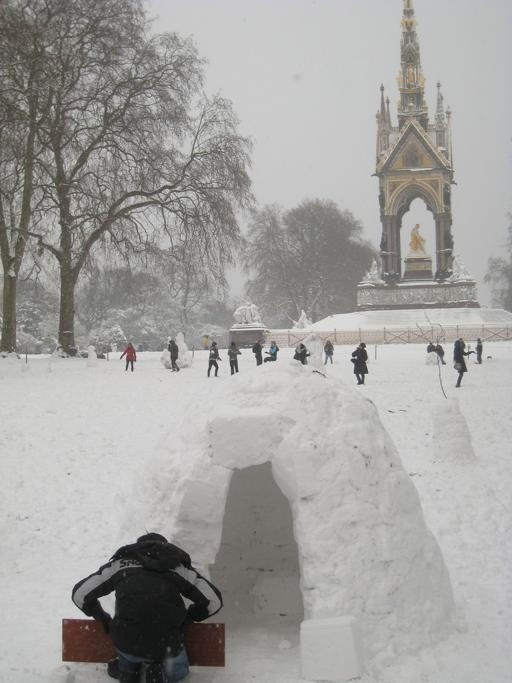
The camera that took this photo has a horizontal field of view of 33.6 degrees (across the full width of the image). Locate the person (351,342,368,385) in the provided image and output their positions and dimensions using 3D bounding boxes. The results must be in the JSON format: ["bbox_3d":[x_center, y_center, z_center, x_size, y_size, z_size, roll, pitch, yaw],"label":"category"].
[{"bbox_3d":[2.300,0.453,18.778,0.335,0.686,1.307,-1,0,6],"label":"person"}]

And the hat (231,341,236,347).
[{"bbox_3d":[-0.496,0.018,20.343,0.091,0.186,0.111,0,-3,10],"label":"hat"}]

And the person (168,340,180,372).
[{"bbox_3d":[-2.088,0.319,22.368,0.245,0.737,1.128,-1,0,-6],"label":"person"}]
